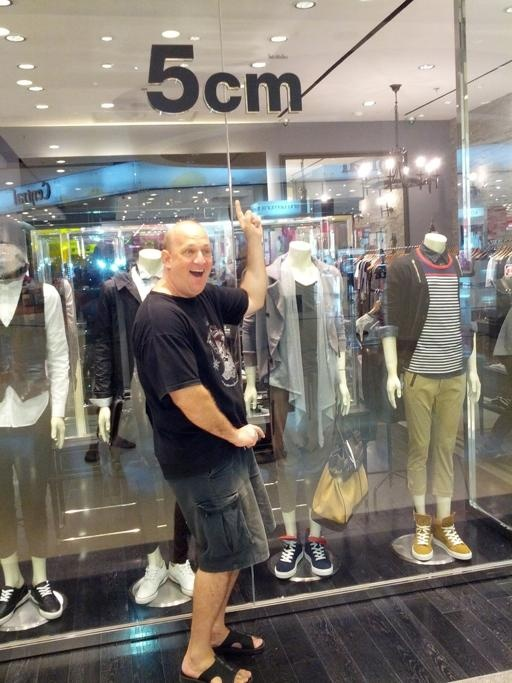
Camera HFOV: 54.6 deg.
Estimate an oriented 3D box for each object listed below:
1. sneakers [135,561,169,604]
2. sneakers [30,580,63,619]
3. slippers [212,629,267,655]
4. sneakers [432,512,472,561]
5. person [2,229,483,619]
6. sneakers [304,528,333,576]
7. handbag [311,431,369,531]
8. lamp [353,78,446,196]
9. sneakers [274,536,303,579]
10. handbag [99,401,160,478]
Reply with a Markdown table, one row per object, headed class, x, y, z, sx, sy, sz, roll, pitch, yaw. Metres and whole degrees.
| class | x | y | z | sx | sy | sz | roll | pitch | yaw |
| --- | --- | --- | --- | --- | --- | --- | --- | --- | --- |
| sneakers | -0.427 | 0.978 | 2.035 | 0.074 | 0.079 | 0.180 | 2 | 15 | 18 |
| sneakers | -0.830 | 1.003 | 1.975 | 0.079 | 0.081 | 0.184 | -5 | 15 | -44 |
| slippers | -0.060 | 1.057 | 1.766 | 0.185 | 0.075 | 0.069 | -2 | 0 | -3 |
| sneakers | 0.940 | 0.930 | 2.420 | 0.099 | 0.170 | 0.246 | -17 | 15 | -26 |
| person | -0.110 | 0.318 | 1.920 | 1.515 | 1.198 | 0.266 | -3 | 5 | -24 |
| sneakers | 0.270 | 0.959 | 2.246 | 0.080 | 0.104 | 0.240 | -4 | -3 | -8 |
| handbag | 0.360 | 0.605 | 2.192 | 0.186 | 0.400 | 0.411 | 3 | 8 | 24 |
| lamp | 0.589 | -0.847 | 2.047 | 0.335 | 0.409 | 0.338 | -7 | 21 | 5 |
| sneakers | 0.142 | 0.958 | 2.183 | 0.073 | 0.090 | 0.213 | -2 | 2 | 12 |
| handbag | -0.495 | 0.367 | 1.882 | 0.195 | 0.264 | 0.091 | 3 | 5 | -14 |
